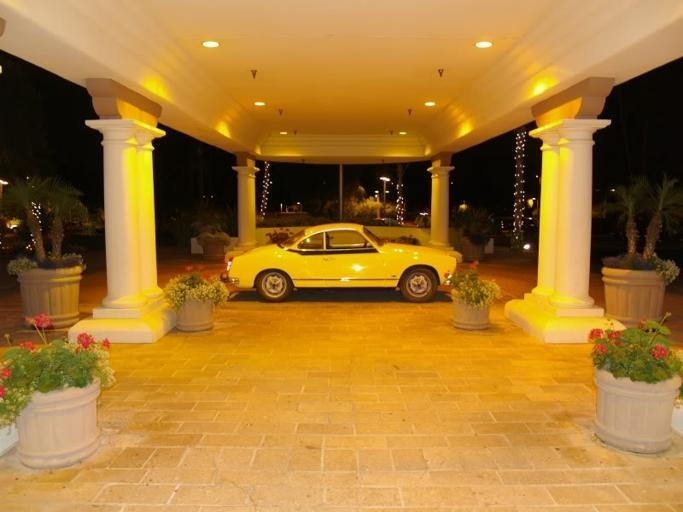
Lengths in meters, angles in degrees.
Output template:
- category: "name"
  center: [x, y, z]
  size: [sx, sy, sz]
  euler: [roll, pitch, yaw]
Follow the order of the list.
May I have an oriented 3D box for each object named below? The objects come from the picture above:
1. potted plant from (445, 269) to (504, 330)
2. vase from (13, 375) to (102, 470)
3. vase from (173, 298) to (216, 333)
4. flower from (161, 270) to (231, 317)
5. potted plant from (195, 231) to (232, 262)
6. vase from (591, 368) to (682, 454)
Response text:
- category: "potted plant"
  center: [2.396, 0.787, 8.514]
  size: [0.770, 1.029, 0.589]
  euler: [1, 6, 17]
- category: "vase"
  center: [-2.662, 1.626, 4.644]
  size: [0.768, 0.774, 0.756]
  euler: [-12, -4, 23]
- category: "vase"
  center: [-2.648, 1.028, 8.615]
  size: [0.776, 0.585, 0.745]
  euler: [-2, 0, -29]
- category: "flower"
  center: [-2.620, 0.666, 8.577]
  size: [1.020, 0.601, 0.978]
  euler: [3, -5, -25]
- category: "potted plant"
  center: [-4.957, -0.461, 18.642]
  size: [1.589, 1.315, 1.104]
  euler: [1, 9, 3]
- category: "vase"
  center: [2.801, 1.486, 4.792]
  size: [0.755, 0.752, 0.750]
  euler: [2, 8, 12]
